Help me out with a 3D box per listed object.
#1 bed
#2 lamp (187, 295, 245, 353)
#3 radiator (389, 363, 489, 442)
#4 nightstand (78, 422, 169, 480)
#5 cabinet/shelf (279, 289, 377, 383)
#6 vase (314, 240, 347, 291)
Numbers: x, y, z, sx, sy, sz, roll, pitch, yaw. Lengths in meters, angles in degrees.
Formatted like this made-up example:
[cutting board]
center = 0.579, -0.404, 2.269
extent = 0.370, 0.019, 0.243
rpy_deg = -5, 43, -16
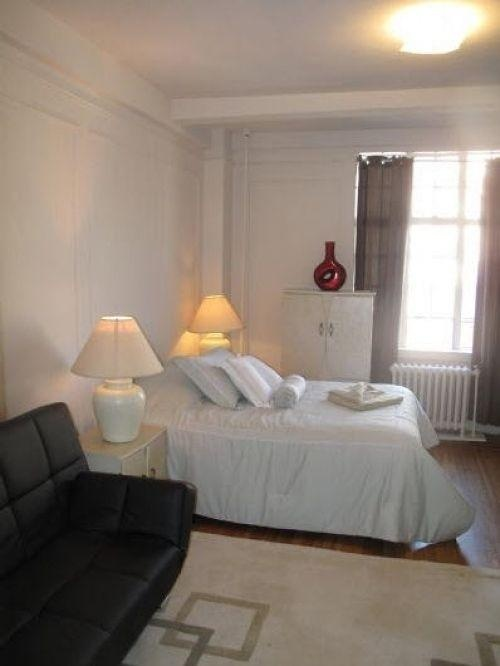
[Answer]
[bed]
center = 0.338, 0.735, 3.187
extent = 1.369, 0.463, 0.934
rpy_deg = 2, 10, 10
[lamp]
center = -0.311, -0.157, 4.895
extent = 0.482, 0.678, 0.485
rpy_deg = -7, 13, -24
[radiator]
center = 1.658, 0.592, 4.679
extent = 0.695, 0.599, 0.253
rpy_deg = 1, 7, 17
[nightstand]
center = -0.661, 0.590, 2.871
extent = 0.302, 0.377, 0.408
rpy_deg = 2, 13, 12
[cabinet/shelf]
center = 0.697, 0.027, 4.937
extent = 0.820, 0.799, 0.329
rpy_deg = 2, 6, 16
[vase]
center = 0.756, -0.632, 5.115
extent = 0.254, 0.465, 0.192
rpy_deg = -1, 6, -22
